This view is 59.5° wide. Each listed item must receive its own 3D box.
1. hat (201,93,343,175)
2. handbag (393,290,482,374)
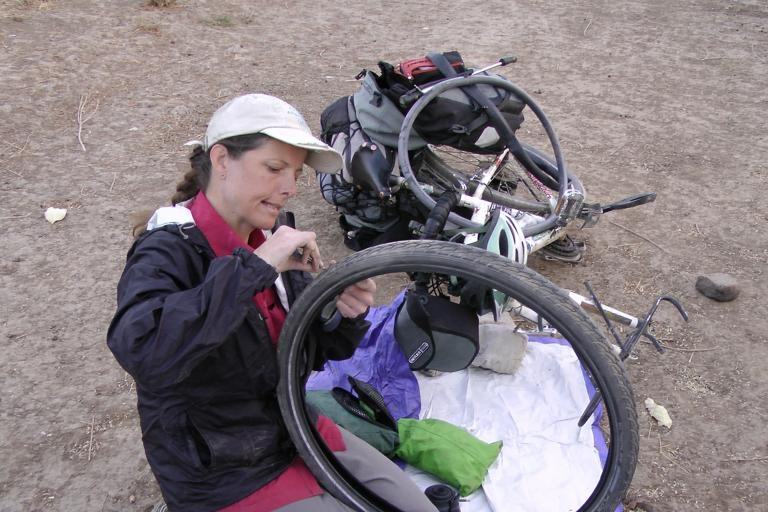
[{"bbox_3d":[-0.674,-0.656,3.560,0.631,0.391,0.237,-3,83,-14],"label":"hat"},{"bbox_3d":[0.300,0.420,3.721,0.453,0.343,0.368,10,70,7],"label":"handbag"}]
